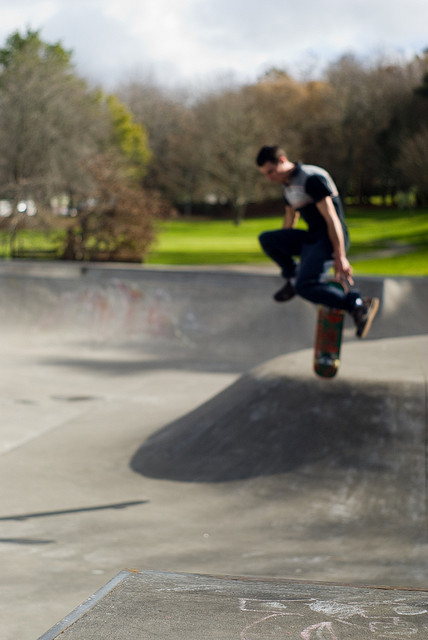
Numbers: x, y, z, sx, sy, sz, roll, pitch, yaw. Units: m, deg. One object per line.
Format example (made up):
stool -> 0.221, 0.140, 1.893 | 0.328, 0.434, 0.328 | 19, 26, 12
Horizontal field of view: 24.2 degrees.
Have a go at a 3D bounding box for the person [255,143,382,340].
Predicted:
person -> 0.587, -0.429, 5.793 | 0.655, 1.158, 0.655 | -3, 10, 2

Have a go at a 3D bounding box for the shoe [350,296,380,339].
shoe -> 0.865, -0.005, 5.796 | 0.149, 0.250, 0.264 | -2, 10, 11

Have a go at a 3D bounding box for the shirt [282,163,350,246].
shirt -> 0.540, -0.639, 5.573 | 0.242, 0.442, 0.302 | -10, 12, -34

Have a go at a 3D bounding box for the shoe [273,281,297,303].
shoe -> 0.430, -0.144, 6.186 | 0.067, 0.078, 0.187 | 28, -35, 0

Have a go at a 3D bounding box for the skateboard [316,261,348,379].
skateboard -> 0.636, 0.051, 5.426 | 0.179, 0.686, 0.103 | 9, -40, 2
